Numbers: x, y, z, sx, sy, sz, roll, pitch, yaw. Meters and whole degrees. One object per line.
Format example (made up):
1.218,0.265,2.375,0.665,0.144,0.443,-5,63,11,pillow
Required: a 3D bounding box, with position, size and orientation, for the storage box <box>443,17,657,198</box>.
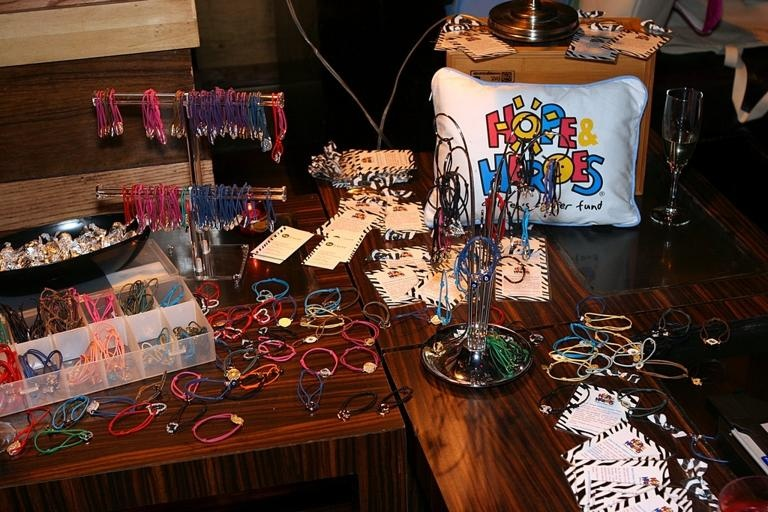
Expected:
0.656,-0.461,2.255,0.834,0.620,0.459,2,34,8,storage box
